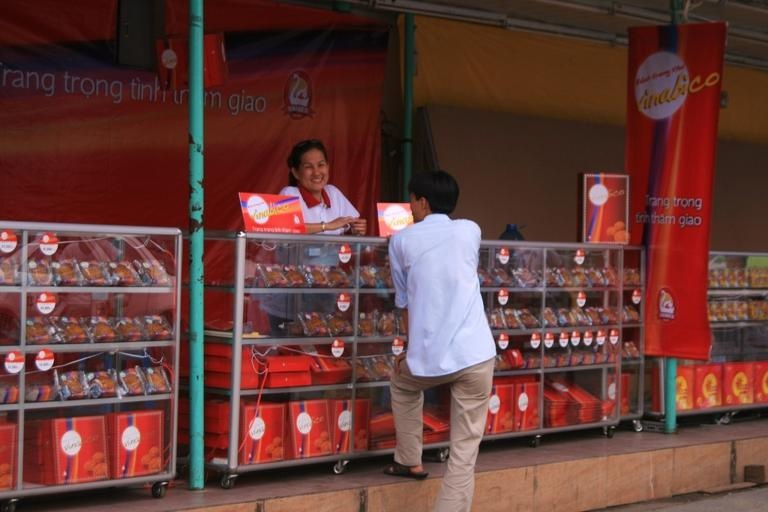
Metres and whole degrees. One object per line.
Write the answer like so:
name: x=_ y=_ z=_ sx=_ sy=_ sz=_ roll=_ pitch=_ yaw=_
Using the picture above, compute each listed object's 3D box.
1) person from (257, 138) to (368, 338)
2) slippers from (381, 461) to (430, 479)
person: x=-0.622 y=-0.038 z=6.853 sx=0.706 sy=0.643 sz=1.909 roll=2 pitch=-53 yaw=-6
slippers: x=0.149 y=1.626 z=5.997 sx=0.315 sy=0.129 sz=0.126 roll=6 pitch=-1 yaw=29
